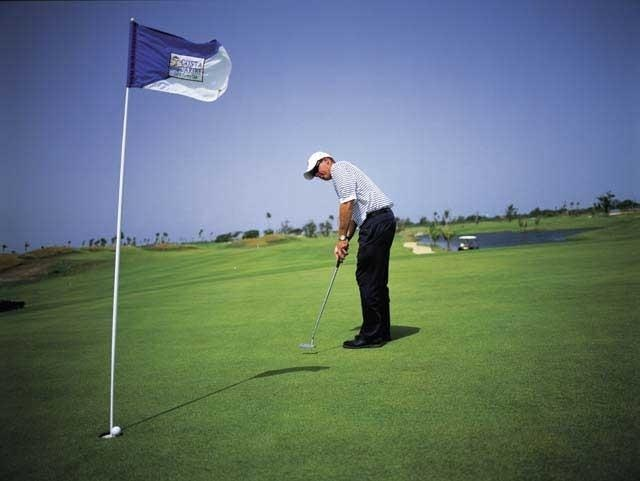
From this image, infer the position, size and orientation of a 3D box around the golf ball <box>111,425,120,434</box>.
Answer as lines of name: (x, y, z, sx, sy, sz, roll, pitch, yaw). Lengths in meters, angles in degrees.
golf ball: (-1.792, 1.653, 4.094, 0.079, 0.064, 0.075, -3, 9, 0)

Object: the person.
person: (0.471, 0.122, 5.972, 1.005, 2.495, 1.005, -2, 9, 8)

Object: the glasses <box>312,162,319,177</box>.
glasses: (-0.072, -0.943, 6.357, 0.092, 0.134, 0.067, -1, -9, 15)

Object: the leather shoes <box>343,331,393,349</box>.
leather shoes: (0.582, 1.262, 5.903, 0.474, 0.212, 0.242, 1, -6, -1)
